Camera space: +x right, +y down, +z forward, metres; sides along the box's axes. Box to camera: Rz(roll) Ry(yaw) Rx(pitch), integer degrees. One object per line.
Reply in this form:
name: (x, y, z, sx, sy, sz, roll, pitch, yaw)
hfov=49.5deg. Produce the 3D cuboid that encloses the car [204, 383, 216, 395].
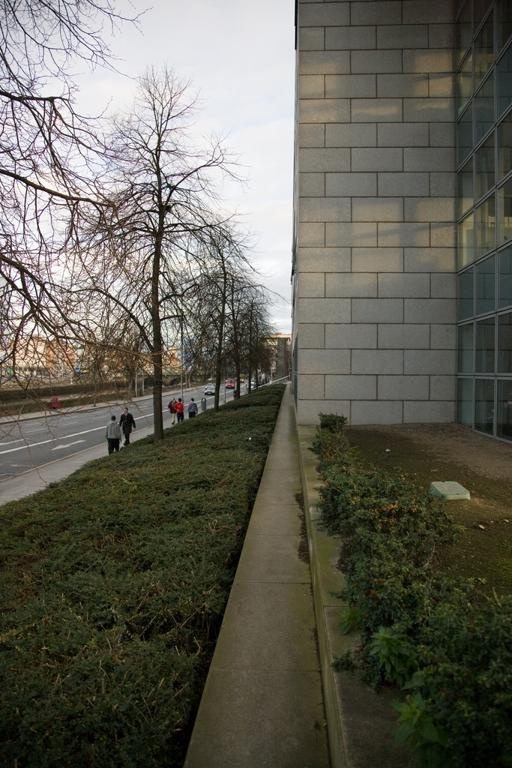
car: (-5.268, 0.588, 62.461, 1.014, 0.898, 2.571, 0, -2, -3)
